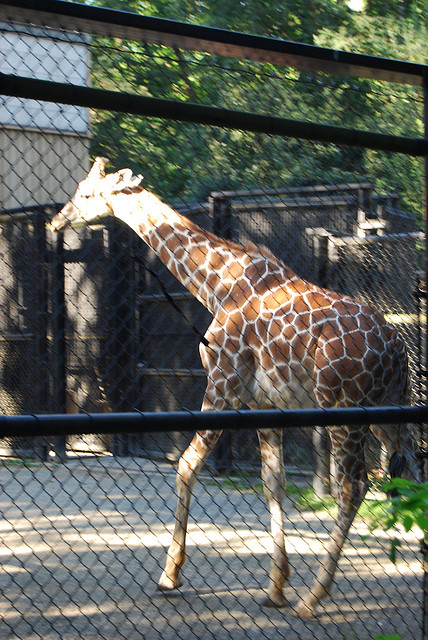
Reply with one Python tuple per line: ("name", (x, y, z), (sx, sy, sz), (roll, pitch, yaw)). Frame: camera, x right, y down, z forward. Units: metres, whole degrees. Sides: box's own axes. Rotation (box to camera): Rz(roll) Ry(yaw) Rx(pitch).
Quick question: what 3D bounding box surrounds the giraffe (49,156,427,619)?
("giraffe", (0.195, 0.214, 5.090), (2.355, 1.876, 1.240), (12, 18, 42))
